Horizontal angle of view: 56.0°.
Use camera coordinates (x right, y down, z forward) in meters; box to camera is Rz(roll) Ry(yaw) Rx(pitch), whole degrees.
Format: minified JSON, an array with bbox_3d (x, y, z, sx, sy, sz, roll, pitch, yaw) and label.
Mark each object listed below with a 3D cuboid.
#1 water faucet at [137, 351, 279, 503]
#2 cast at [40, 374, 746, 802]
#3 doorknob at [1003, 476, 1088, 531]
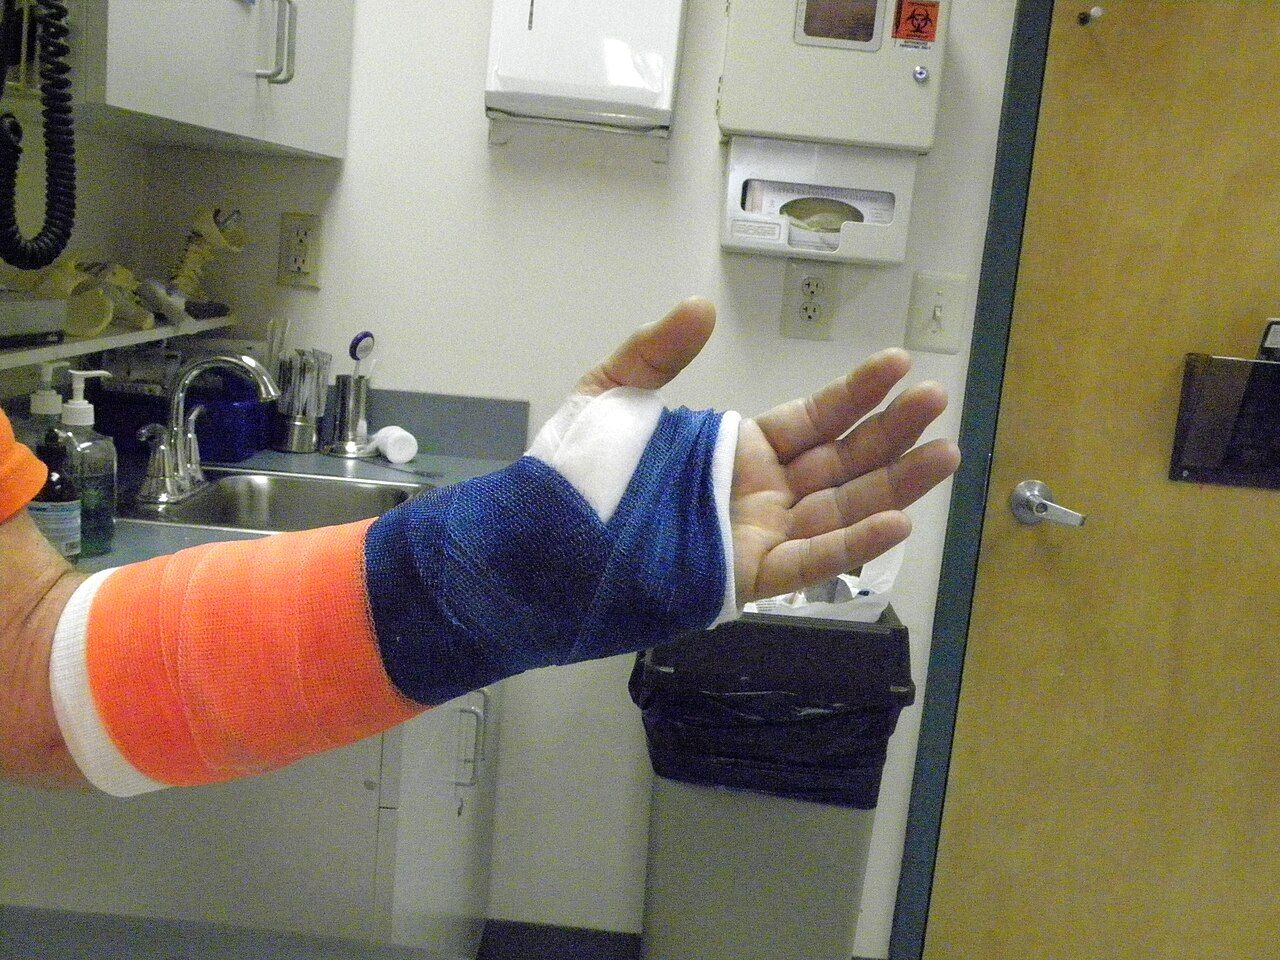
[{"bbox_3d":[-0.693,-0.100,1.929,0.205,0.228,0.179,-3,14,-20],"label":"water faucet"},{"bbox_3d":[-0.188,0.117,1.061,0.495,0.190,0.283,-17,28,1],"label":"cast"},{"bbox_3d":[0.705,0.041,2.061,0.131,0.081,0.074,10,10,37],"label":"doorknob"}]
